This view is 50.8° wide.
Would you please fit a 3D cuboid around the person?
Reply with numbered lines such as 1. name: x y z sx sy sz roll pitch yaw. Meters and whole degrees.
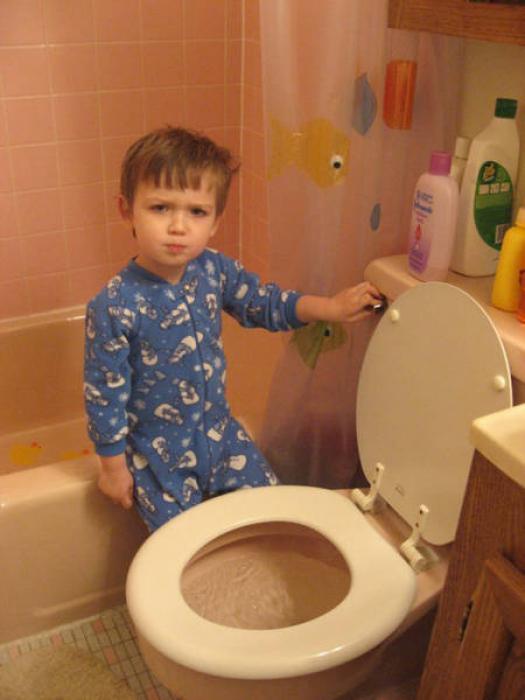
1. person: -0.089 0.132 0.982 0.374 0.939 0.391 -11 26 -27

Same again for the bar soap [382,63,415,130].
1. bar soap: 0.230 -0.434 0.927 0.051 0.098 0.063 -8 37 -4
